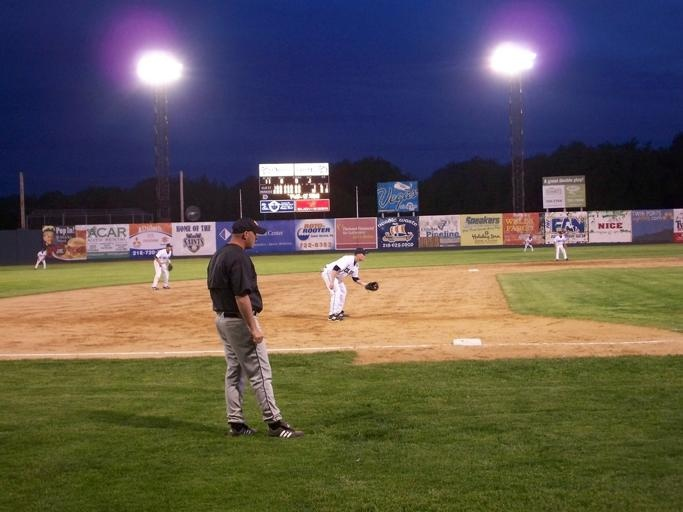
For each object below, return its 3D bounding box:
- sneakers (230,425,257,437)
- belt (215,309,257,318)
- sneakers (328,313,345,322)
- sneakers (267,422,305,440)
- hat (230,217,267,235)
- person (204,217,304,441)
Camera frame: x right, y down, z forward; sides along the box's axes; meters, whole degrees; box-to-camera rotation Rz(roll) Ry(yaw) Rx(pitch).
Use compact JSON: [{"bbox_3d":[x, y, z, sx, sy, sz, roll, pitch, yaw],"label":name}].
[{"bbox_3d":[-1.149,2.004,8.734,0.325,0.132,0.112,2,3,-14],"label":"sneakers"},{"bbox_3d":[-1.310,0.670,8.716,0.347,0.066,0.071,1,8,30],"label":"belt"},{"bbox_3d":[-0.110,1.325,16.407,0.399,0.262,0.131,-3,-2,10],"label":"sneakers"},{"bbox_3d":[-0.667,1.999,8.725,0.376,0.142,0.167,2,2,2],"label":"sneakers"},{"bbox_3d":[-1.087,-0.349,8.861,0.318,0.127,0.198,0,9,-27],"label":"hat"},{"bbox_3d":[-1.092,0.825,8.803,0.941,2.486,0.617,-1,8,14],"label":"person"}]
